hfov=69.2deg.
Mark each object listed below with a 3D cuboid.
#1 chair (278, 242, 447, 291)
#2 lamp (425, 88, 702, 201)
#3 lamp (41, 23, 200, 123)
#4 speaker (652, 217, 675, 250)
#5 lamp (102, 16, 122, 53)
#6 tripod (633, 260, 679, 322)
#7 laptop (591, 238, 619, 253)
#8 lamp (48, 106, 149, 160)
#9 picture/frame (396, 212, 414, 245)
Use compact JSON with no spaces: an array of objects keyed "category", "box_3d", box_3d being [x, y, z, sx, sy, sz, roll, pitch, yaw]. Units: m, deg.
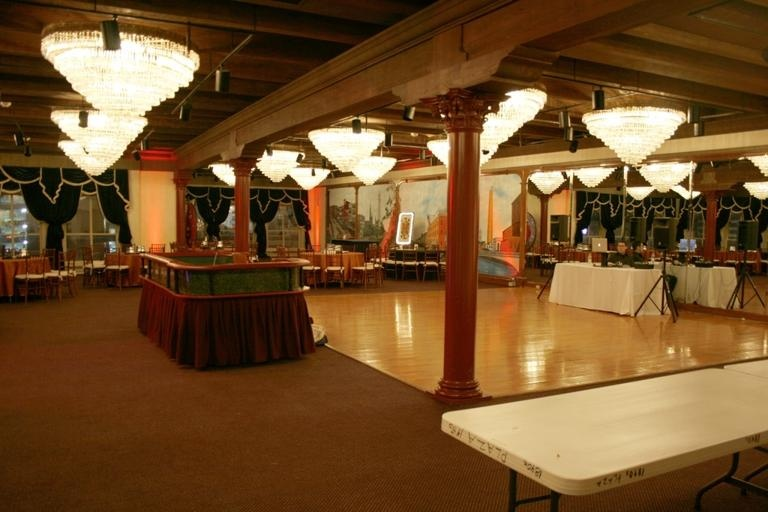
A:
[{"category":"chair","box_3d":[-0.301,0.295,16.224,2.130,1.297,4.452,1,6,39]},{"category":"lamp","box_3d":[2.998,-2.095,9.383,3.450,1.160,2.409,0,6,36]},{"category":"lamp","box_3d":[-2.958,-2.116,6.285,1.222,0.510,1.219,0,4,-14]},{"category":"speaker","box_3d":[6.366,-0.532,12.615,0.484,0.755,0.485,-1,19,25]},{"category":"lamp","box_3d":[-2.900,-2.339,5.889,0.252,0.307,0.251,-3,27,-15]},{"category":"tripod","box_3d":[5.760,0.785,11.517,1.058,0.978,0.608,-7,6,-34]},{"category":"laptop","box_3d":[5.539,-0.259,13.926,0.381,0.370,0.536,-3,5,-24]},{"category":"lamp","box_3d":[-4.563,-2.019,8.891,1.414,0.617,1.406,-2,7,-28]},{"category":"picture/frame","box_3d":[0.710,-0.935,19.400,0.629,1.101,0.545,-2,5,12]}]
